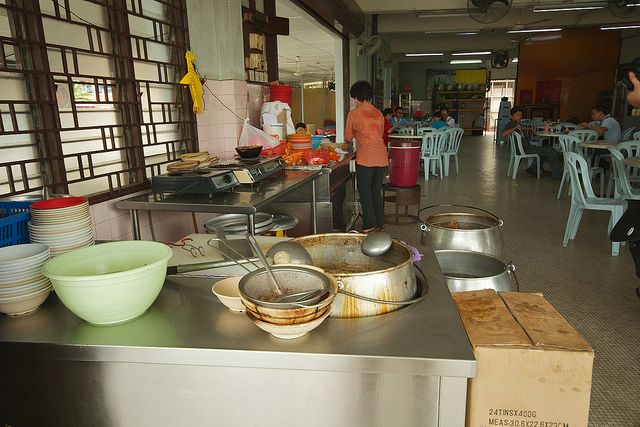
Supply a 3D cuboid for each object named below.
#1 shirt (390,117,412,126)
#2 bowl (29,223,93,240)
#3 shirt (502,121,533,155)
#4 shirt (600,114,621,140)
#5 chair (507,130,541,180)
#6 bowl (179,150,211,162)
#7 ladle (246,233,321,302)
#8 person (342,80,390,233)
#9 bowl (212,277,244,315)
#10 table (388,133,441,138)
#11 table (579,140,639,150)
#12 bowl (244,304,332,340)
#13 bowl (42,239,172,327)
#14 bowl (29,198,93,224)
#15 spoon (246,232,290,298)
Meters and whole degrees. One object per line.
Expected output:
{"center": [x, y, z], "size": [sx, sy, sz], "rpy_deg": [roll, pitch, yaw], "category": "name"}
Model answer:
{"center": [2.030, -2.332, 10.551], "size": [0.524, 0.193, 0.502], "rpy_deg": [2, 3, 22], "category": "shirt"}
{"center": [-1.074, 0.083, 1.703], "size": [0.112, 0.039, 0.108], "rpy_deg": [-4, 5, 0], "category": "bowl"}
{"center": [4.230, -1.626, 8.804], "size": [0.562, 0.677, 0.539], "rpy_deg": [-10, 16, -28], "category": "shirt"}
{"center": [5.251, -1.541, 7.418], "size": [0.321, 0.401, 0.708], "rpy_deg": [7, 17, 33], "category": "shirt"}
{"center": [4.265, -1.219, 8.540], "size": [0.633, 0.946, 0.820], "rpy_deg": [4, 16, 24], "category": "chair"}
{"center": [-1.014, -0.460, 3.288], "size": [0.255, 0.077, 0.243], "rpy_deg": [-1, 10, 0], "category": "bowl"}
{"center": [-0.150, 0.177, 1.370], "size": [0.146, 0.044, 0.264], "rpy_deg": [-19, 63, -34], "category": "ladle"}
{"center": [0.557, -0.617, 4.723], "size": [0.529, 1.725, 0.379], "rpy_deg": [-5, 15, -9], "category": "person"}
{"center": [-0.321, 0.280, 1.446], "size": [0.134, 0.052, 0.130], "rpy_deg": [1, 15, 0], "category": "bowl"}
{"center": [1.917, -1.634, 8.642], "size": [0.793, 0.083, 0.998], "rpy_deg": [-14, 18, -42], "category": "table"}
{"center": [4.196, -1.004, 5.969], "size": [0.622, 0.132, 0.616], "rpy_deg": [4, 15, 25], "category": "table"}
{"center": [-0.096, 0.338, 1.293], "size": [0.259, 0.110, 0.135], "rpy_deg": [-3, 14, -2], "category": "bowl"}
{"center": [-0.700, 0.219, 1.420], "size": [0.344, 0.154, 0.338], "rpy_deg": [1, 18, 0], "category": "bowl"}
{"center": [-1.105, -0.026, 1.787], "size": [0.207, 0.079, 0.196], "rpy_deg": [6, 4, 0], "category": "bowl"}
{"center": [-0.206, 0.168, 1.404], "size": [0.042, 0.269, 0.086], "rpy_deg": [-35, -8, 29], "category": "spoon"}
